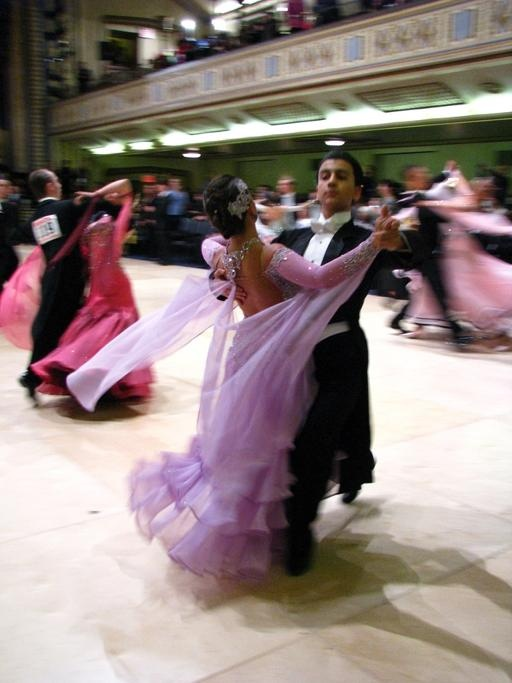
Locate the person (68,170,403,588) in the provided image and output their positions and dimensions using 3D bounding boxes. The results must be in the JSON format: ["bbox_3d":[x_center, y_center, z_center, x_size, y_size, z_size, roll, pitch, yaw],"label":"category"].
[{"bbox_3d":[-0.040,0.078,1.970,1.254,1.190,0.752,-3,23,20],"label":"person"}]

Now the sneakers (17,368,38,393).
[{"bbox_3d":[-1.428,0.249,3.827,0.159,0.164,0.062,-10,-6,16],"label":"sneakers"}]
